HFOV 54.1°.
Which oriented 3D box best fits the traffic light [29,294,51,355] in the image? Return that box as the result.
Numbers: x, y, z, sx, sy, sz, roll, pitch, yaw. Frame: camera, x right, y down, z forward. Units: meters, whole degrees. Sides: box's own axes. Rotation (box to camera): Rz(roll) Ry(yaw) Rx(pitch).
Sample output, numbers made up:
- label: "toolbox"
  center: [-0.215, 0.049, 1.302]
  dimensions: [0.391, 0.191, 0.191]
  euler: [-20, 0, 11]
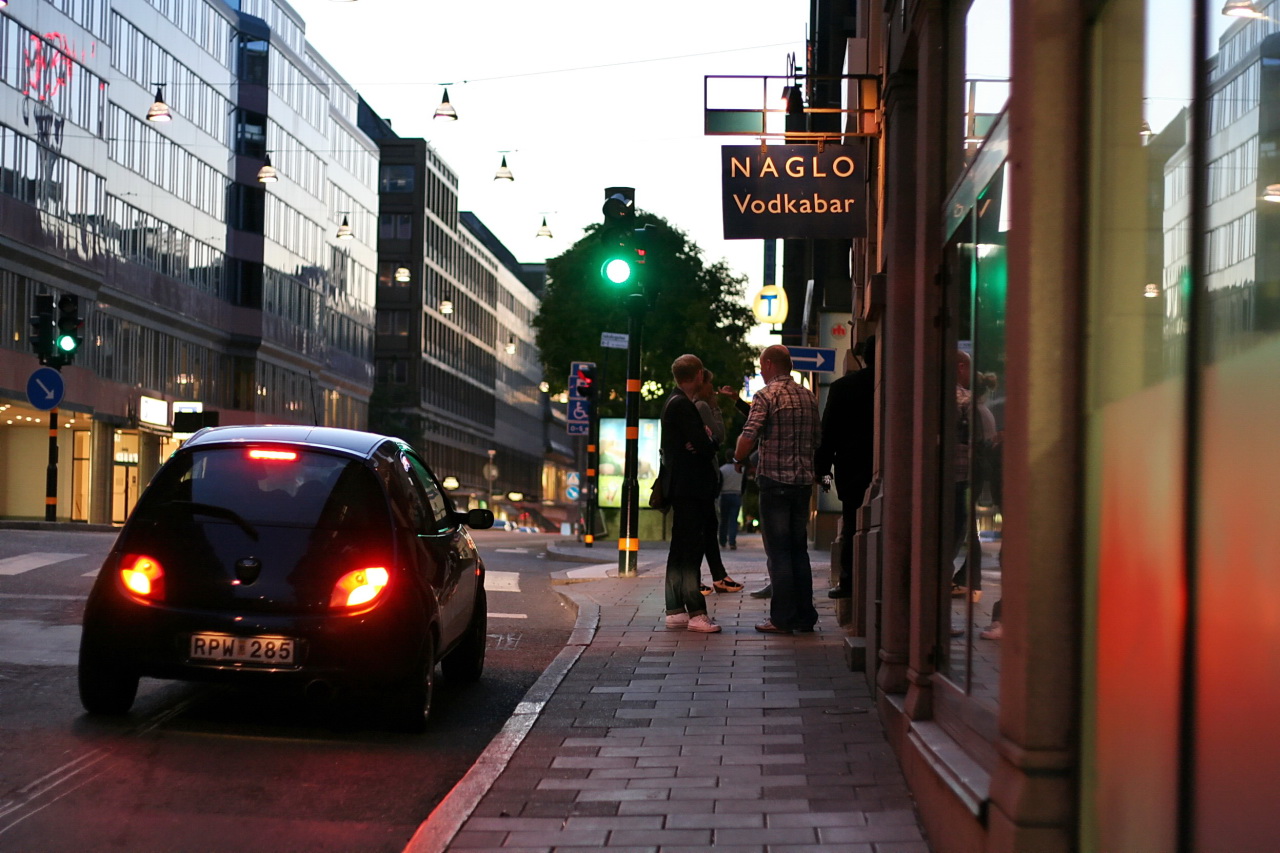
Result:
- label: "traffic light"
  center: [-14.227, -2.333, 29.650]
  dimensions: [0.458, 1.533, 0.681]
  euler: [1, -3, -28]

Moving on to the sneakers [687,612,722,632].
- label: "sneakers"
  center: [0.629, 1.884, 12.048]
  dimensions: [0.362, 0.190, 0.131]
  euler: [-1, 0, 4]

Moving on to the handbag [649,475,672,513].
- label: "handbag"
  center: [0.211, 0.644, 12.091]
  dimensions: [0.220, 0.452, 0.314]
  euler: [1, -7, 3]

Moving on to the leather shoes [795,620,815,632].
- label: "leather shoes"
  center: [1.588, 1.923, 12.148]
  dimensions: [0.117, 0.052, 0.167]
  euler: [1, 0, 18]

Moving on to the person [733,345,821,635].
- label: "person"
  center: [1.342, 0.590, 11.910]
  dimensions: [0.566, 2.769, 1.080]
  euler: [-3, -4, 36]

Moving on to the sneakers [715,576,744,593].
- label: "sneakers"
  center: [1.187, 2.079, 16.521]
  dimensions: [0.424, 0.202, 0.166]
  euler: [0, 1, -18]

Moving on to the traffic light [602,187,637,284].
- label: "traffic light"
  center: [-0.334, -2.933, 19.545]
  dimensions: [0.526, 1.682, 0.694]
  euler: [-1, -3, -2]

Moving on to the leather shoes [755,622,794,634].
- label: "leather shoes"
  center: [1.275, 1.933, 11.970]
  dimensions: [0.333, 0.149, 0.127]
  euler: [4, 1, 5]

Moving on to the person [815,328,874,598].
- label: "person"
  center: [2.066, 0.398, 12.515]
  dimensions: [0.535, 2.673, 1.513]
  euler: [-1, -3, 8]

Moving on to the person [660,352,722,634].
- label: "person"
  center: [0.470, 0.827, 12.062]
  dimensions: [0.555, 2.296, 0.507]
  euler: [-1, -3, 13]

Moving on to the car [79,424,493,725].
- label: "car"
  center: [-2.228, 0.946, 8.781]
  dimensions: [1.480, 1.205, 2.612]
  euler: [1, -1, 6]
